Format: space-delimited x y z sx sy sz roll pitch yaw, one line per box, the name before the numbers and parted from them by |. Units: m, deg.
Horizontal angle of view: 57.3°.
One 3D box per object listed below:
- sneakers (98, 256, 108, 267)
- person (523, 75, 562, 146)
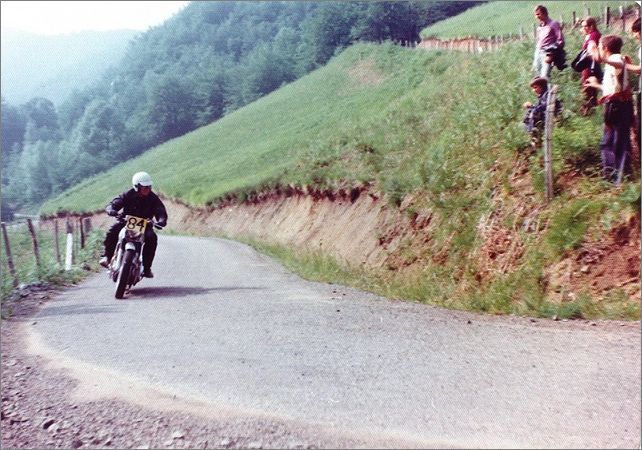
sneakers | -4.843 0.830 13.034 0.118 0.181 0.222 -32 3 40
person | 4.916 -2.510 13.133 0.785 1.553 1.272 0 5 24
